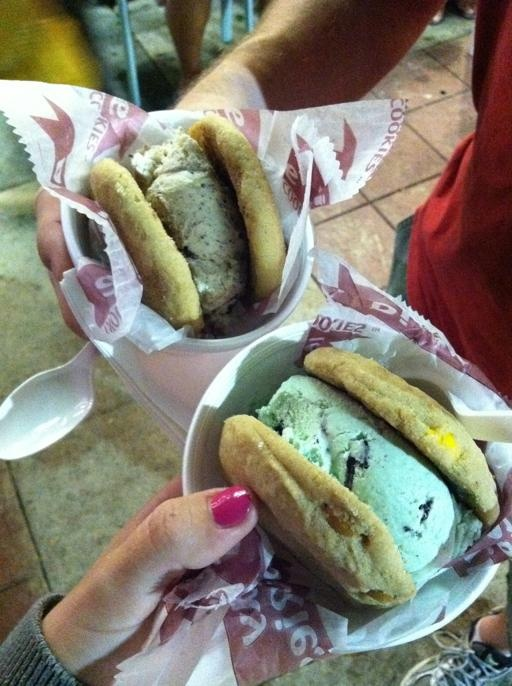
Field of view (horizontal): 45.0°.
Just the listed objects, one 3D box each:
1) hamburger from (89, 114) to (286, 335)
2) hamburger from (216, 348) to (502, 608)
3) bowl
[{"bbox_3d":[-0.095,-0.182,0.969,0.348,0.295,0.258,-16,39,-27],"label":"hamburger"},{"bbox_3d":[0.113,0.147,0.702,0.211,0.171,0.272,-35,60,-26],"label":"hamburger"},{"bbox_3d":[0.087,0.160,0.733,0.424,0.149,0.386,1,78,-5],"label":"bowl"}]
